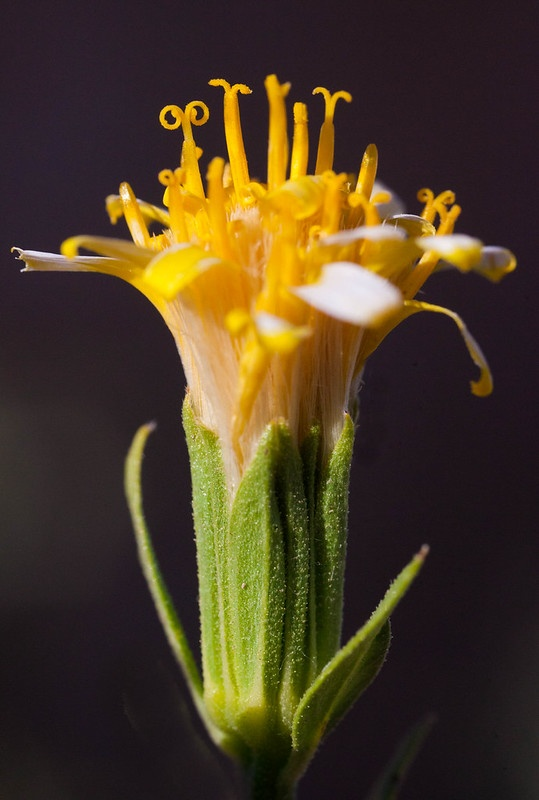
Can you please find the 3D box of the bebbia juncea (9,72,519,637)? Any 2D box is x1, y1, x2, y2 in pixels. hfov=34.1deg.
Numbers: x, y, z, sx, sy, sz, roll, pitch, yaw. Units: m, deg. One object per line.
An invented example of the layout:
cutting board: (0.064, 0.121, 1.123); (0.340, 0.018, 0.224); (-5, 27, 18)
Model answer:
bebbia juncea: (0.011, -0.114, 0.821); (0.425, 0.352, 0.424); (-10, 24, -23)
